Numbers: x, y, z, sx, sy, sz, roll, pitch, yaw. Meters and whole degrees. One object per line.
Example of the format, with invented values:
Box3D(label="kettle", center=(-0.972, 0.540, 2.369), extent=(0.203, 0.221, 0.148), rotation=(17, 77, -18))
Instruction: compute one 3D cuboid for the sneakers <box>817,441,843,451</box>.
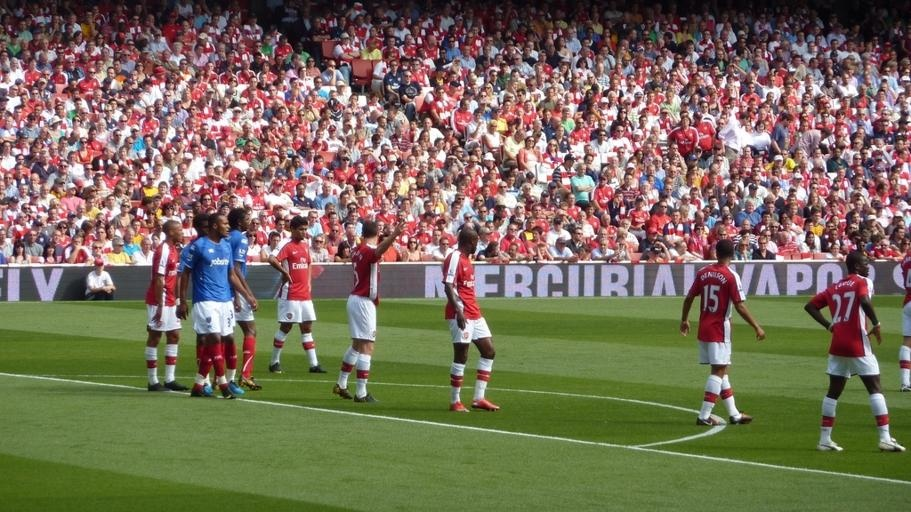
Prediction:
Box3D(label="sneakers", center=(7.654, 3.864, 30.918), extent=(0.412, 0.145, 0.211), rotation=(0, 0, -1))

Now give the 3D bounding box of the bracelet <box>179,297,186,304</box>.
Box3D(label="bracelet", center=(-5.844, 0.938, 32.335), extent=(0.125, 0.149, 0.096), rotation=(25, -22, -39))

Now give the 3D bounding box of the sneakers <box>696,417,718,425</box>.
Box3D(label="sneakers", center=(5.359, 3.468, 32.026), extent=(0.532, 0.199, 0.170), rotation=(0, 2, -13))

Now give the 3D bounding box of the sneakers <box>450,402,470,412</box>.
Box3D(label="sneakers", center=(0.079, 3.227, 32.494), extent=(0.333, 0.121, 0.187), rotation=(-6, -6, 34))

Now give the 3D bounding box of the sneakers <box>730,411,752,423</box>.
Box3D(label="sneakers", center=(6.140, 3.427, 32.199), extent=(0.521, 0.226, 0.191), rotation=(-7, 3, -19))

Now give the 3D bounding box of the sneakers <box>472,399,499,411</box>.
Box3D(label="sneakers", center=(0.652, 3.188, 32.632), extent=(0.661, 0.255, 0.228), rotation=(0, 2, 3))

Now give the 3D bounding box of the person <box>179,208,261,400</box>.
Box3D(label="person", center=(-5.244, 1.071, 32.555), extent=(1.410, 3.968, 0.655), rotation=(0, 0, -13))

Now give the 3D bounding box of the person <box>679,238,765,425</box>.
Box3D(label="person", center=(5.655, 1.599, 32.358), extent=(1.514, 3.927, 1.204), rotation=(0, 0, 9))

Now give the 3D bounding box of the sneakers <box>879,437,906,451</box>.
Box3D(label="sneakers", center=(8.974, 3.829, 30.841), extent=(0.636, 0.273, 0.218), rotation=(3, -4, -9))

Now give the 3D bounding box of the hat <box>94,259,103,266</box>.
Box3D(label="hat", center=(-9.728, 0.155, 41.285), extent=(0.218, 0.217, 0.194), rotation=(0, 0, -17))
